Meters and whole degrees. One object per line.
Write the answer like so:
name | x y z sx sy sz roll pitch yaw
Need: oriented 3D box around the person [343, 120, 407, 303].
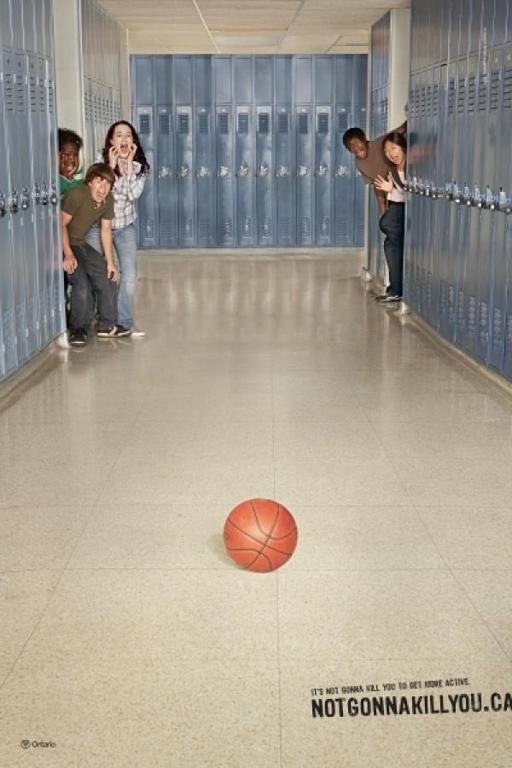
person | 1.689 -2.179 7.338 0.463 2.192 0.827 -3 7 -23
